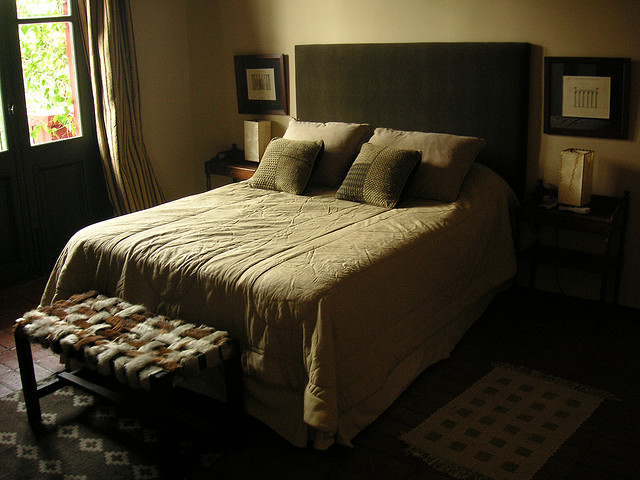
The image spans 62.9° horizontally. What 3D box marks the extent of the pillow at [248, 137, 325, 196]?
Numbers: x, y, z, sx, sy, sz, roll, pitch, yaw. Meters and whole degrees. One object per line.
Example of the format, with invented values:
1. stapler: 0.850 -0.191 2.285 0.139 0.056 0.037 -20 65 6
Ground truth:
1. pillow: -0.231 -0.565 4.104 0.511 0.490 0.158 13 -16 45

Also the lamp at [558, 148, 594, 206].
1. lamp: 1.777 -0.426 3.659 0.212 0.364 0.142 5 21 20

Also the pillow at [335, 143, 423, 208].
1. pillow: 0.435 -0.464 3.834 0.518 0.158 0.580 13 58 25

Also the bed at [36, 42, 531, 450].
1. bed: -0.096 -0.410 3.801 2.369 1.917 3.060 10 22 32
